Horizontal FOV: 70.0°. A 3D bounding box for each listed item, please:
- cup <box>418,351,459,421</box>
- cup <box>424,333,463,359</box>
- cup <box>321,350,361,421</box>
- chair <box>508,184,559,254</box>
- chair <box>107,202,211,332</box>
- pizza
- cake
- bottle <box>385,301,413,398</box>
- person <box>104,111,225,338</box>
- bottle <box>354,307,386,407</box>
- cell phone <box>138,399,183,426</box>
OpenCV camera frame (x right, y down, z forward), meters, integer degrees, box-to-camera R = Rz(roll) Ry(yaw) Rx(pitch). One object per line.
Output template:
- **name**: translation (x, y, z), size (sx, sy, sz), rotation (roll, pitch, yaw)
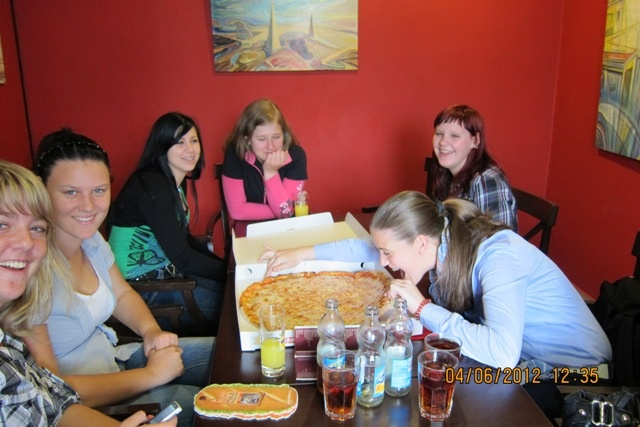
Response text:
- **cup**: translation (0.377, 0.553, 1.471), size (0.127, 0.207, 0.096), rotation (-1, 11, 15)
- **cup**: translation (0.410, 0.437, 1.538), size (0.084, 0.069, 0.091), rotation (-1, 5, 0)
- **cup**: translation (0.068, 0.546, 1.467), size (0.119, 0.213, 0.095), rotation (-4, 11, -2)
- **chair**: translation (1.290, 0.097, 2.747), size (0.170, 0.243, 0.178), rotation (30, 50, 23)
- **chair**: translation (-0.906, 0.308, 2.511), size (0.449, 0.810, 0.293), rotation (-8, 32, -12)
- **pizza**: translation (-0.014, 0.354, 2.022), size (0.380, 0.054, 0.288), rotation (-6, 19, -11)
- **cake**: translation (-0.236, 0.614, 1.492), size (0.268, 0.042, 0.132), rotation (0, 20, 0)
- **bottle**: translation (0.262, 0.450, 1.533), size (0.109, 0.317, 0.092), rotation (-4, 11, -3)
- **person**: translation (-0.887, 0.203, 2.924), size (0.863, 1.577, 0.602), rotation (6, 14, -4)
- **bottle**: translation (0.168, 0.465, 1.512), size (0.102, 0.319, 0.116), rotation (-2, 11, 8)
- **cell phone**: translation (-0.540, 0.686, 1.558), size (0.134, 0.089, 0.062), rotation (-3, 11, 5)
